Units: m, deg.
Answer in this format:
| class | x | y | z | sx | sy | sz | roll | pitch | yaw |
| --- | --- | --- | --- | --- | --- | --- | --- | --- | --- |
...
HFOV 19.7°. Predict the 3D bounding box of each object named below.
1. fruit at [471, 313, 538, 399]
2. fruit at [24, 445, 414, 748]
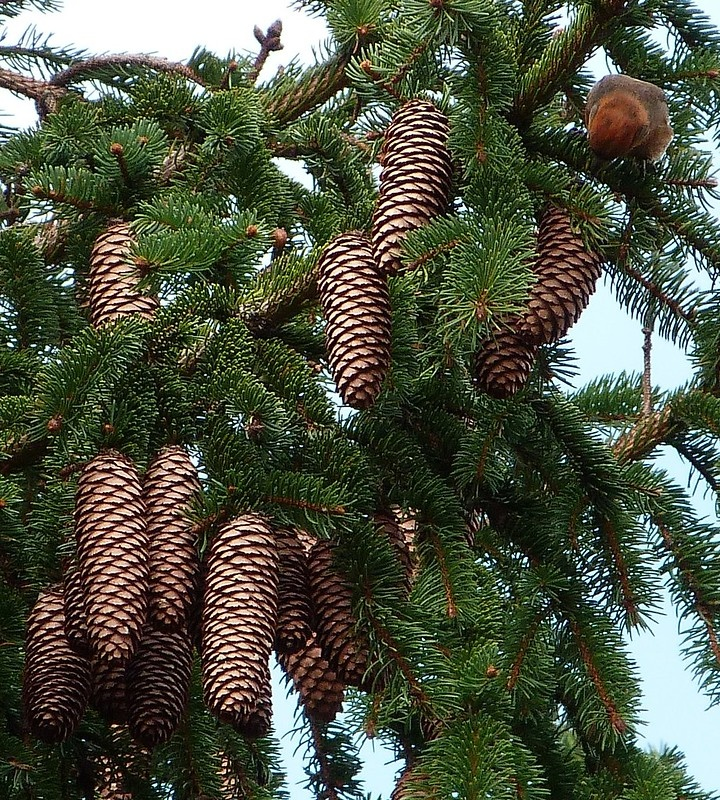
| class | x | y | z | sx | sy | sz | roll | pitch | yaw |
| --- | --- | --- | --- | --- | --- | --- | --- | --- | --- |
| fruit | 0.279 | -0.100 | 4.011 | 0.081 | 0.171 | 0.085 | -7 | -33 | 39 |
| fruit | -0.334 | 0.372 | 3.911 | 0.493 | 0.403 | 0.699 | 3 | -10 | 5 |
